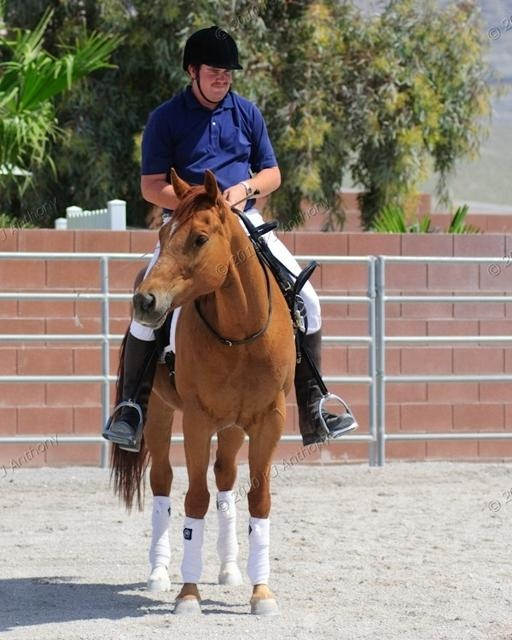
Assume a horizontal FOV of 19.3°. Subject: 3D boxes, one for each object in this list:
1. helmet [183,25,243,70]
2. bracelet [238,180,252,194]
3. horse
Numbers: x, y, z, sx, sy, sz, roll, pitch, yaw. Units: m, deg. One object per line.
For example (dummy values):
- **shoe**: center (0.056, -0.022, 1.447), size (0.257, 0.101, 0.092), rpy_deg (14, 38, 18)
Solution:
- **helmet**: center (-0.271, -1.732, 9.619), size (0.239, 0.237, 0.335), rpy_deg (-7, 11, -40)
- **bracelet**: center (-0.075, -0.845, 9.557), size (0.052, 0.087, 0.083), rpy_deg (-25, -25, -20)
- **horse**: center (-0.348, 0.660, 10.117), size (0.961, 2.653, 3.263), rpy_deg (-1, -7, -7)
